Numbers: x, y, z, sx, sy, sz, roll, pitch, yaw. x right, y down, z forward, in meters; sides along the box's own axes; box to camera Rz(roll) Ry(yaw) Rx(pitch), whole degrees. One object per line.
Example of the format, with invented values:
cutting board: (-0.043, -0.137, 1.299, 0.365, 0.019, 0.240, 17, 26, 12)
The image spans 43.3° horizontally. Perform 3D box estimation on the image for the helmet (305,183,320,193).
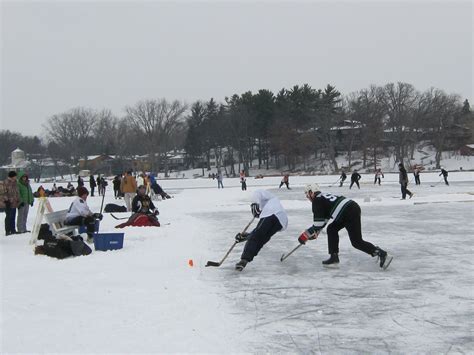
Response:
helmet: (1.510, 0.228, 11.928, 0.163, 0.199, 0.208, 0, 18, -37)

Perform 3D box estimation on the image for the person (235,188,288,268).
person: (0.465, 0.960, 12.109, 0.850, 1.997, 1.127, 29, -50, -22)

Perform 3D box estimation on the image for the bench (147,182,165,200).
bench: (-3.484, 0.612, 25.563, 0.744, 0.448, 1.081, -4, 17, -19)

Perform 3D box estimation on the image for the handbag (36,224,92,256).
handbag: (-3.756, 1.455, 12.898, 0.982, 0.381, 0.808, 3, 1, -9)

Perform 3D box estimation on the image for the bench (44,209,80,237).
bench: (-4.187, 1.055, 14.044, 0.447, 0.551, 1.215, 3, 2, 5)

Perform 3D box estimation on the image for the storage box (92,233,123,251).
storage box: (-2.884, 1.430, 13.426, 0.553, 0.360, 0.394, -1, 1, -24)
